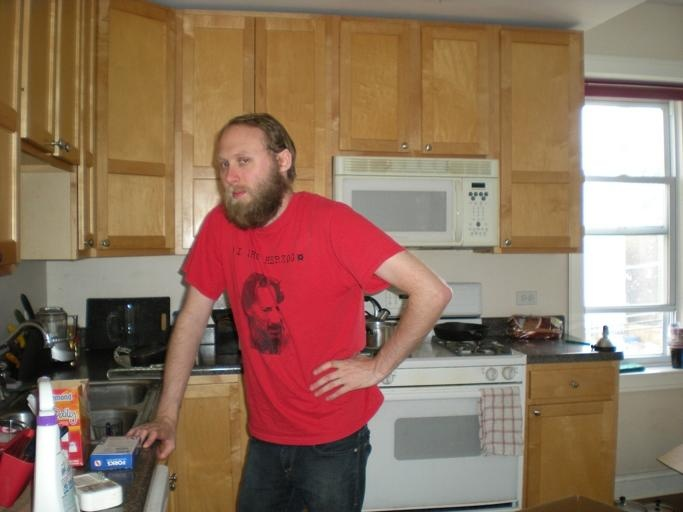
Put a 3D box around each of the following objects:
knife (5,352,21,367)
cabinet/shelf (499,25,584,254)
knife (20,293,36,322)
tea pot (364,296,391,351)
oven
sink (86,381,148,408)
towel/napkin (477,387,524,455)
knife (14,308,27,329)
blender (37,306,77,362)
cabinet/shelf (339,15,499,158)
[{"bbox_3d":[-1.451,0.462,2.872,0.031,0.074,0.101,-1,-1,3],"label":"knife"},{"bbox_3d":[1.118,-0.627,3.627,0.496,1.232,0.142,10,21,43],"label":"cabinet/shelf"},{"bbox_3d":[-1.476,0.246,3.061,0.029,0.128,0.020,-15,19,-24],"label":"knife"},{"bbox_3d":[0.181,0.360,3.515,0.154,0.258,0.251,0,0,-38],"label":"tea pot"},{"bbox_3d":[0.461,1.019,3.562,0.969,0.871,0.666,0,-9,-3],"label":"oven"},{"bbox_3d":[-1.004,0.625,2.923,0.247,0.085,0.193,1,1,-5],"label":"sink"},{"bbox_3d":[0.800,0.838,3.368,0.224,0.330,0.087,0,-2,2],"label":"towel/napkin"},{"bbox_3d":[-1.449,0.287,2.939,0.029,0.030,0.123,-34,-23,-26],"label":"knife"},{"bbox_3d":[-1.324,0.377,3.067,0.131,0.229,0.215,-19,-11,39],"label":"blender"},{"bbox_3d":[0.371,-0.897,3.637,0.937,0.712,0.364,-2,2,-20],"label":"cabinet/shelf"}]
